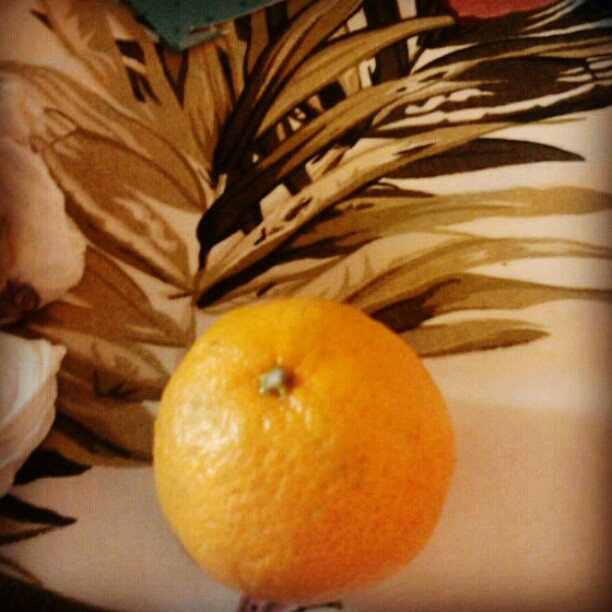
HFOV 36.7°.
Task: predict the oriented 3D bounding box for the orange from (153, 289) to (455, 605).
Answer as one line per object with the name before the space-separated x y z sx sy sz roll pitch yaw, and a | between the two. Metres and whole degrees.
orange | -0.004 0.107 0.757 0.183 0.250 0.169 -24 -6 -4
